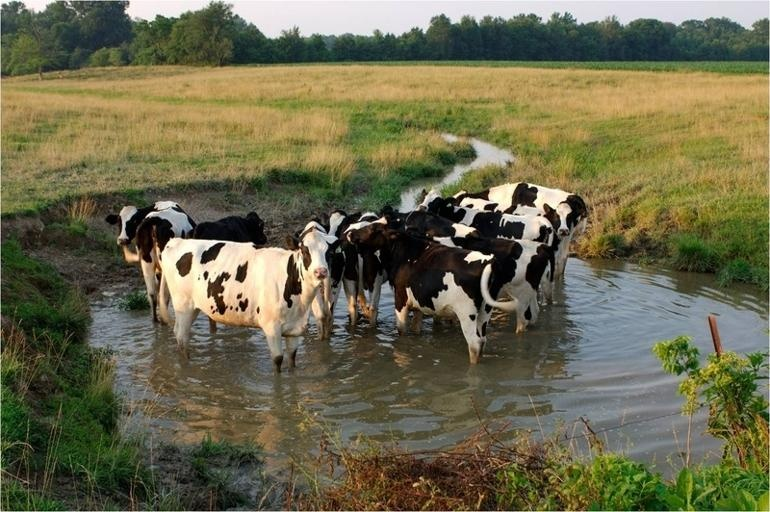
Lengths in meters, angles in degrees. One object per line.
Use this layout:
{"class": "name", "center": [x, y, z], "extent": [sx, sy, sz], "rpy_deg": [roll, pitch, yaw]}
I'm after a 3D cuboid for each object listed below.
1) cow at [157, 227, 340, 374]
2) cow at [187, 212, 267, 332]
{"class": "cow", "center": [-2.587, 0.911, 16.868], "extent": [4.341, 3.096, 1.585], "rpy_deg": [5, 14, 27]}
{"class": "cow", "center": [-3.559, -0.164, 18.867], "extent": [1.891, 1.575, 0.566], "rpy_deg": [-6, -9, 16]}
